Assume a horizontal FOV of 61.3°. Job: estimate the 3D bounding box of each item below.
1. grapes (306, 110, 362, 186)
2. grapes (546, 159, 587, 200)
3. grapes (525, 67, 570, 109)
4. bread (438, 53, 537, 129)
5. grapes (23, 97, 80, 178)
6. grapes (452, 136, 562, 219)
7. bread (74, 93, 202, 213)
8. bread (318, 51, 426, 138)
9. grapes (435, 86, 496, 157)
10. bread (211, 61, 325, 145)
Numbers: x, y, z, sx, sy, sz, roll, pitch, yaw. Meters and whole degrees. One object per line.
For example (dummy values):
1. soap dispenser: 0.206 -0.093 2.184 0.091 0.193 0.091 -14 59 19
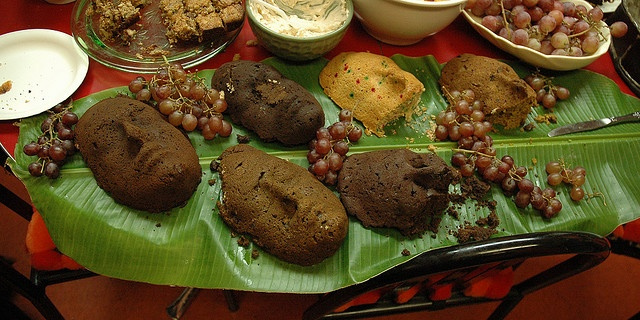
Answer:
1. grapes: 0.069 -0.101 3.598 0.278 0.189 0.481 26 70 -22
2. grapes: 1.633 0.105 3.668 0.072 0.214 0.205 29 112 18
3. grapes: 1.589 -0.490 3.790 0.276 0.109 0.283 15 40 -5
4. bread: 1.160 -0.457 3.894 0.616 0.243 0.457 40 77 10
5. grapes: -1.706 -0.135 3.460 0.275 0.192 0.469 1 79 -3
6. grapes: 1.277 0.097 3.649 0.799 0.234 0.334 -1 51 -9
7. bread: -1.171 -0.030 3.425 0.869 0.176 0.594 40 77 6
8. bread: 0.339 -0.495 3.669 0.645 0.254 0.517 43 70 13
9. grapes: 0.912 -0.253 3.683 0.323 0.285 0.213 -17 73 8
10. bread: -0.339 -0.380 3.544 0.681 0.201 0.467 31 69 4
